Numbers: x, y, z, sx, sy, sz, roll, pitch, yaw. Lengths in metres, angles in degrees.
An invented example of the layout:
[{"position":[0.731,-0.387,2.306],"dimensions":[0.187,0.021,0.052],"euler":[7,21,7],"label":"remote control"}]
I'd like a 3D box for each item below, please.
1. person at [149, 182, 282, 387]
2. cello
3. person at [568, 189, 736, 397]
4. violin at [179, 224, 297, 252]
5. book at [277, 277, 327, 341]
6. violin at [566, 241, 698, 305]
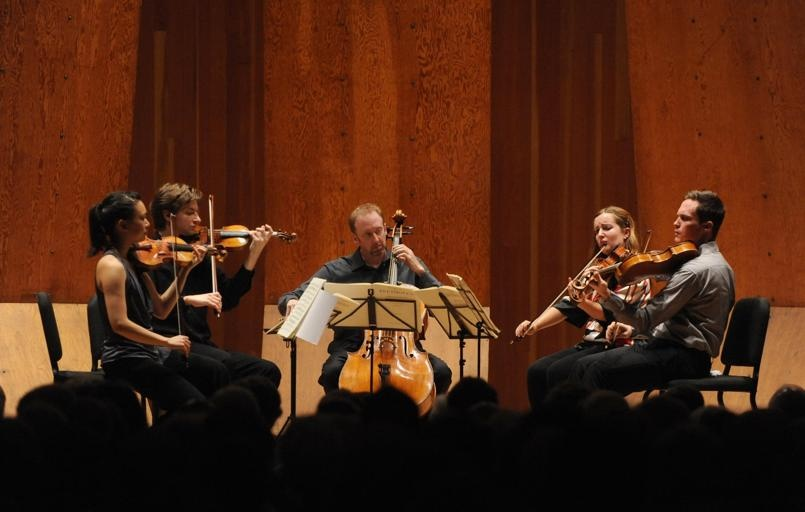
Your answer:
[{"position":[-1.542,0.256,6.471],"dimensions":[0.617,1.717,1.211],"euler":[-9,-9,29],"label":"person"},{"position":[-0.048,0.398,6.100],"dimensions":[0.506,1.416,0.464],"euler":[2,-29,1],"label":"cello"},{"position":[1.872,0.260,5.957],"dimensions":[1.027,1.483,0.423],"euler":[1,-1,-2],"label":"person"},{"position":[-1.360,-0.145,6.648],"dimensions":[0.805,0.328,0.133],"euler":[-2,-47,-11],"label":"violin"},{"position":[-0.680,0.368,5.604],"dimensions":[0.304,0.433,0.300],"euler":[1,-1,2],"label":"book"},{"position":[1.687,0.046,5.969],"dimensions":[0.973,0.180,0.434],"euler":[-9,-43,-15],"label":"violin"}]
